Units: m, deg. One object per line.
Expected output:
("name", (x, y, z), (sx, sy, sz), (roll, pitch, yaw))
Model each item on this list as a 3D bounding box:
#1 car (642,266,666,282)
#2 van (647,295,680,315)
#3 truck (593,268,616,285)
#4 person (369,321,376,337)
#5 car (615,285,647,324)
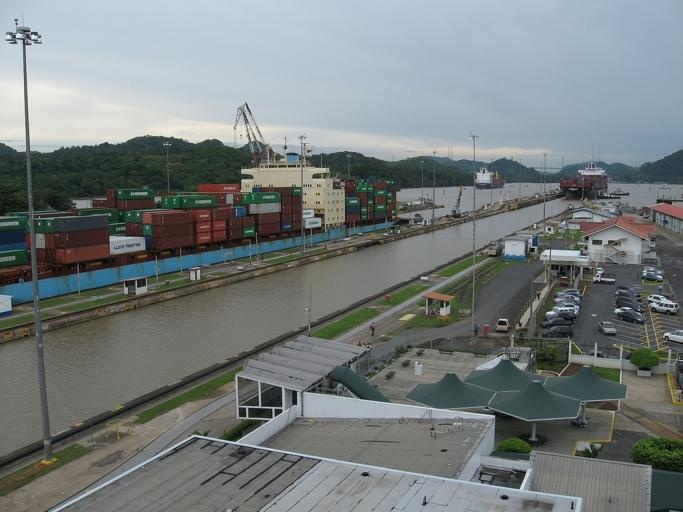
("car", (31.567, 1.976, 55.759), (1.853, 0.851, 2.172), (2, 11, 22))
("van", (26.191, 4.021, 44.796), (1.781, 0.958, 2.589), (-1, 11, 9))
("truck", (26.229, 2.224, 54.754), (2.653, 1.206, 1.574), (2, 5, 15))
("person", (2.369, 5.720, 42.513), (0.557, 1.257, 0.489), (-12, 21, -12))
("car", (23.542, 4.059, 44.862), (1.740, 1.091, 7.140), (0, 5, 18))
